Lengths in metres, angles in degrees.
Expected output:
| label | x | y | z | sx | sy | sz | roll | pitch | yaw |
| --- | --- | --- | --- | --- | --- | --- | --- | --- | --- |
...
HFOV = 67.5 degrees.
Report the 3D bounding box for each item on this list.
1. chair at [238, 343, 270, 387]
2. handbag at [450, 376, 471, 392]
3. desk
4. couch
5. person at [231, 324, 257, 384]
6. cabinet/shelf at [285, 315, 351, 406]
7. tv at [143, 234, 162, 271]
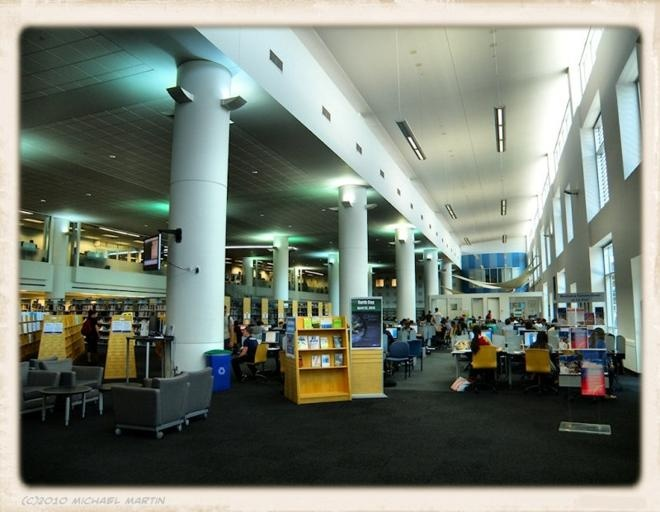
| label | x | y | z | sx | sy | sz | roll | pitch | yaw |
| --- | --- | --- | --- | --- | --- | --- | --- | --- | --- |
| chair | -1.810 | 2.484 | 11.736 | 0.629 | 0.819 | 0.578 | 7 | -14 | -43 |
| handbag | 2.741 | 2.677 | 10.474 | 0.472 | 0.197 | 0.474 | -22 | -4 | 6 |
| desk | 3.981 | 2.374 | 10.985 | 1.872 | 0.935 | 2.836 | -3 | -6 | 23 |
| couch | -3.281 | 2.255 | 8.534 | 3.125 | 0.812 | 3.113 | -2 | -6 | 17 |
| person | -2.143 | 2.324 | 12.194 | 0.599 | 1.233 | 1.645 | 1 | -6 | -11 |
| cabinet/shelf | -0.248 | 1.979 | 9.231 | 1.637 | 2.024 | 1.095 | 1 | -6 | -10 |
| tv | -3.365 | -0.070 | 9.231 | 0.067 | 0.609 | 0.687 | 6 | -9 | -43 |
